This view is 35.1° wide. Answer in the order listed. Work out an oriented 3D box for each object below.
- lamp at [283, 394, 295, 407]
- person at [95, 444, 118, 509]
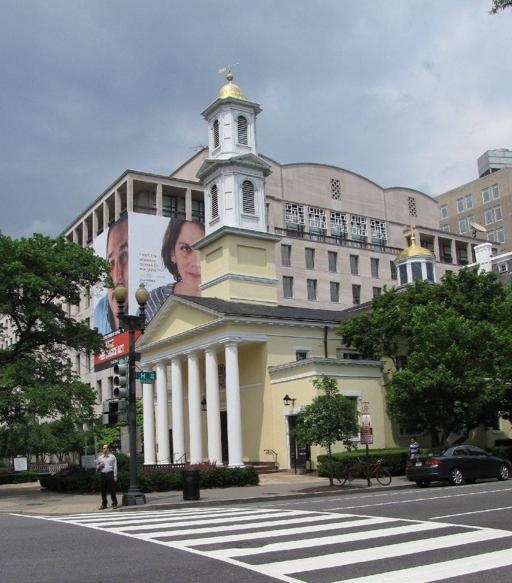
[{"bbox_3d":[1.457,5.095,37.413,0.700,0.464,0.605,14,-17,-42],"label":"lamp"},{"bbox_3d":[-3.933,4.987,21.498,0.513,1.671,1.428,-1,-14,-10],"label":"person"}]
